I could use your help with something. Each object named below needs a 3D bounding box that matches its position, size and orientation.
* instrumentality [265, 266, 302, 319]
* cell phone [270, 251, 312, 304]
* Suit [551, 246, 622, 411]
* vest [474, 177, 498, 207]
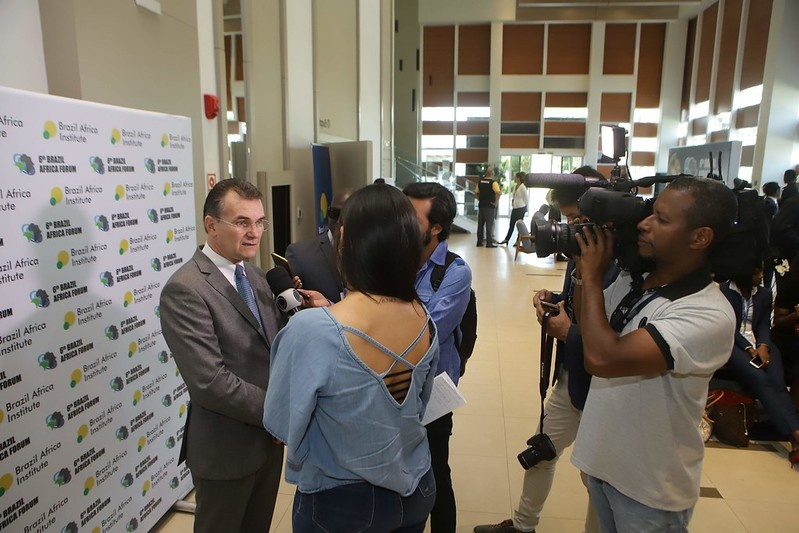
[{"bbox_3d":[-0.648,0.149,2.888,0.121,0.376,0.125,-34,-27,3],"label":"instrumentality"},{"bbox_3d":[-0.640,0.074,3.109,0.078,0.290,0.087,-27,-5,-9],"label":"cell phone"},{"bbox_3d":[0.941,0.345,2.985,0.518,0.784,0.281,0,4,-32],"label":"Suit"},{"bbox_3d":[2.096,-1.736,12.456,0.482,0.665,0.349,2,10,17],"label":"vest"}]
